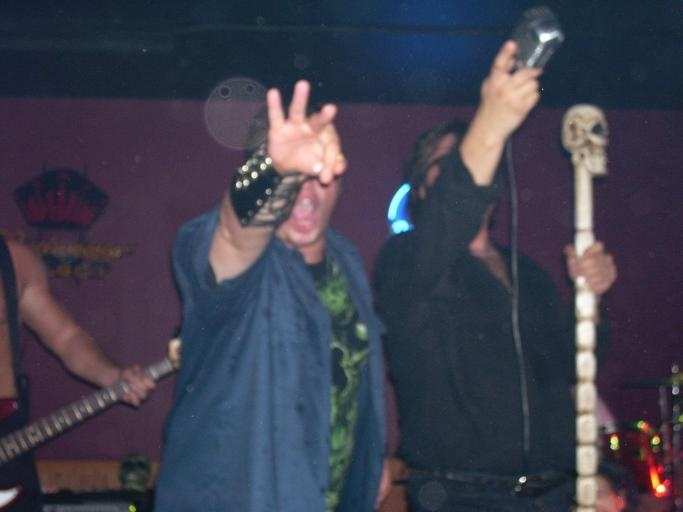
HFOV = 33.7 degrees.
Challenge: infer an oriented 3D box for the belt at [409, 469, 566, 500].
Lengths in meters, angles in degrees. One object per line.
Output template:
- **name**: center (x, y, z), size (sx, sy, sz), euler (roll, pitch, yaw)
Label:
- **belt**: center (0.738, 1.148, 5.716), size (0.835, 0.126, 0.070), euler (2, -9, -4)

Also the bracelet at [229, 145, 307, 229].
- **bracelet**: center (-0.368, -0.335, 5.381), size (0.305, 0.189, 0.313), euler (-3, -52, 43)

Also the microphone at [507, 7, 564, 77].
- **microphone**: center (0.902, -1.019, 5.326), size (0.186, 0.185, 0.326), euler (-37, 3, -11)
